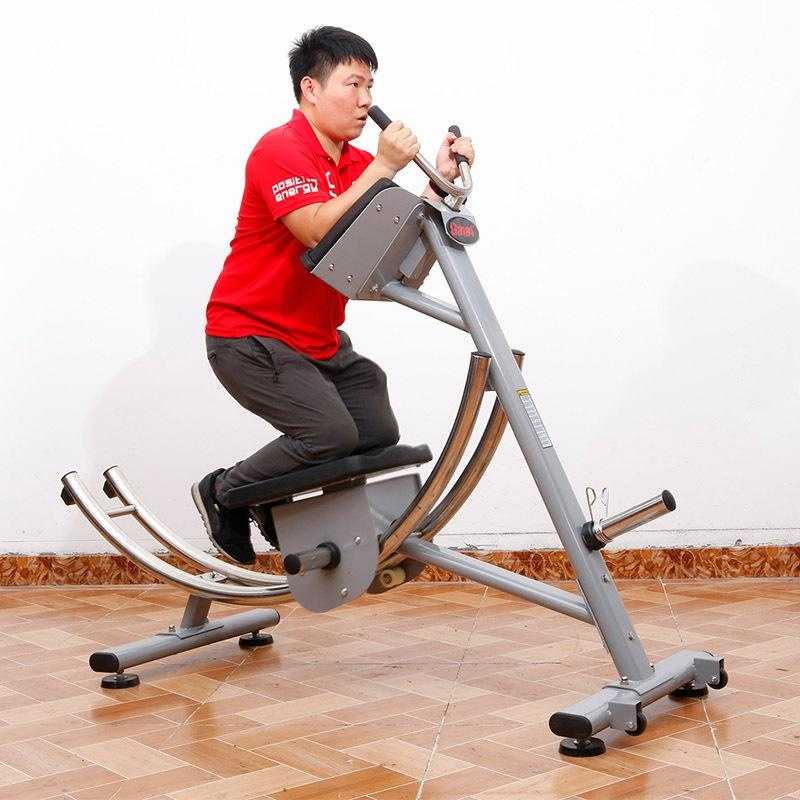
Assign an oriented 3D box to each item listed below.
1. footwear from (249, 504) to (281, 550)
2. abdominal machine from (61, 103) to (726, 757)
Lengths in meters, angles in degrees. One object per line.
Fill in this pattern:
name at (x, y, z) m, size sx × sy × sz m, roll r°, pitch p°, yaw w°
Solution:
footwear at (-0.330, 0.297, 1.889) m, size 0.063 × 0.054 × 0.155 m, roll -9°, pitch 7°, yaw -11°
abdominal machine at (-0.054, 0.035, 1.773) m, size 1.745 × 1.119 × 0.614 m, roll -3°, pitch -3°, yaw 22°
